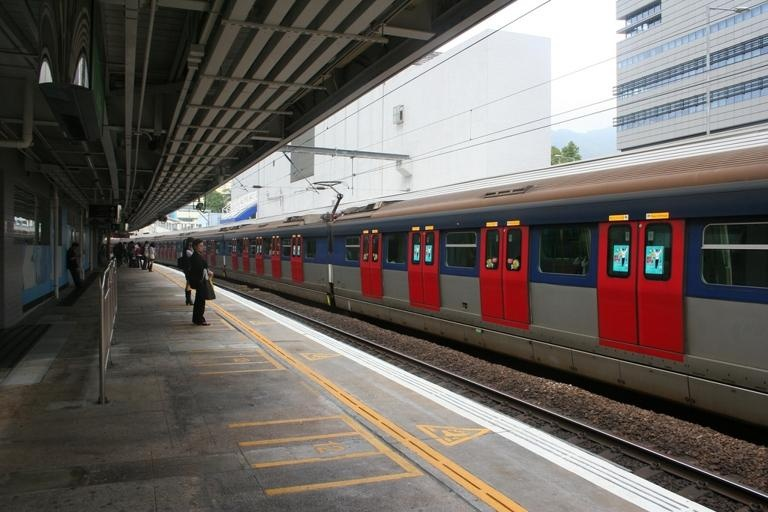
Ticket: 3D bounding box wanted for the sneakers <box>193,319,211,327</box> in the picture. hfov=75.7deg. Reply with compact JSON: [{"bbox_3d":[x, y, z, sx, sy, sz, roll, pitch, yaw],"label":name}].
[{"bbox_3d":[-4.747,1.730,12.921,0.512,0.187,0.163,-1,0,-16],"label":"sneakers"}]
